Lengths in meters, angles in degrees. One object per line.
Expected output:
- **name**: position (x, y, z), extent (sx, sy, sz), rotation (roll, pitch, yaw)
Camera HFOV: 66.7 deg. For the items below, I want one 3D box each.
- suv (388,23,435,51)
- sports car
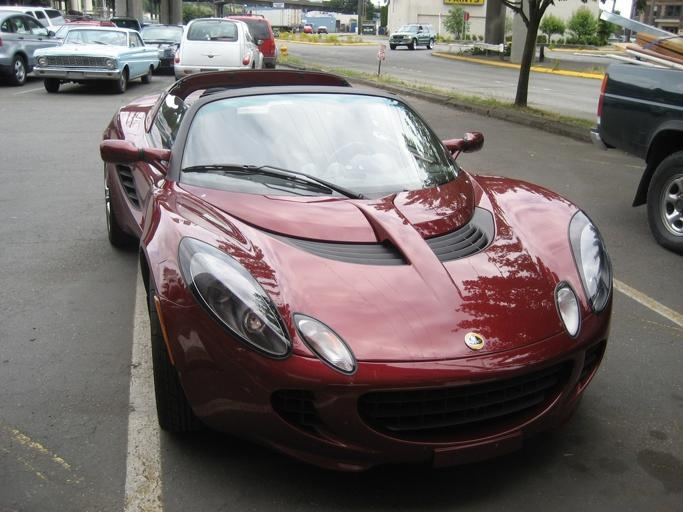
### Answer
- **suv**: position (6.760, -20.532, 48.943), extent (2.876, 2.043, 5.043), rotation (23, 34, 37)
- **sports car**: position (0.104, -0.071, 2.926), extent (2.232, 1.233, 2.450), rotation (-22, 35, -38)
